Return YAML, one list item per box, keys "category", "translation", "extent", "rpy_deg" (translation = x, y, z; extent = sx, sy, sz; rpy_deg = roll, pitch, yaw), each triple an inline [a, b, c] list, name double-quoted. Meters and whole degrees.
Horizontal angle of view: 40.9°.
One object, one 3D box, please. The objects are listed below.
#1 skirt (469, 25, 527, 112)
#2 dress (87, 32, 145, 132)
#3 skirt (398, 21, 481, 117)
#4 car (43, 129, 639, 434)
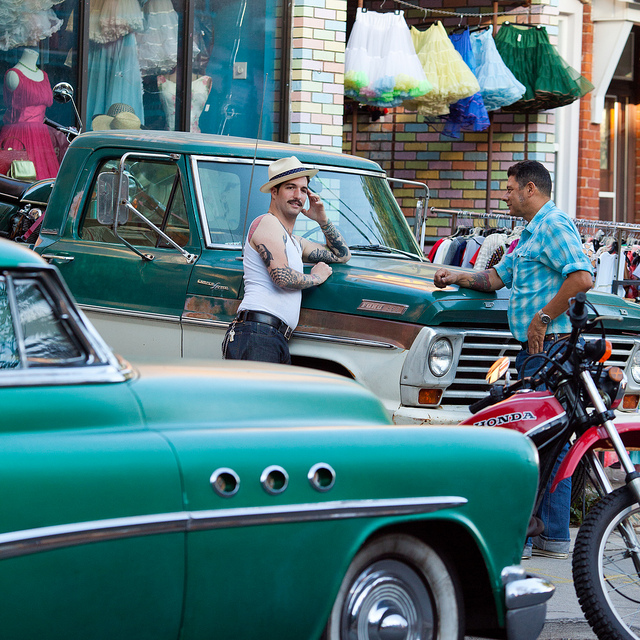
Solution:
- category: "skirt"
  translation: [2.222, -3.287, 11.192]
  extent: [0.688, 1.087, 0.915]
  rpy_deg: [-14, -8, 20]
- category: "dress"
  translation: [-2.282, -2.660, 9.523]
  extent: [0.697, 1.078, 0.137]
  rpy_deg: [-7, 15, -41]
- category: "skirt"
  translation: [1.297, -3.245, 10.889]
  extent: [0.800, 1.199, 0.969]
  rpy_deg: [5, -3, -43]
- category: "car"
  translation: [-0.283, -0.313, 5.212]
  extent: [2.922, 1.432, 1.995]
  rpy_deg: [6, 5, 29]
